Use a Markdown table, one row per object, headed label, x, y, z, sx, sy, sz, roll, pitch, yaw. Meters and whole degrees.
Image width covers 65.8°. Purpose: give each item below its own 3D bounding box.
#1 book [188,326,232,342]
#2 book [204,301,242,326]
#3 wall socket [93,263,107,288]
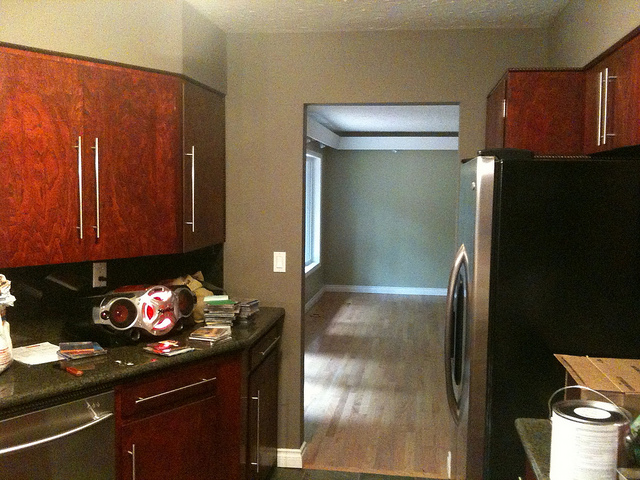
| label | x | y | z | sx | sy | sz | roll | pitch | yaw |
| --- | --- | --- | --- | --- | --- | --- | --- | --- | --- |
| book | -0.550 | 0.470 | 2.531 | 0.181 | 0.039 | 0.225 | 1 | 5 | 18 |
| book | -0.531 | 0.398 | 2.679 | 0.187 | 0.110 | 0.099 | -2 | 5 | -14 |
| wall socket | -1.242 | 0.192 | 2.781 | 0.016 | 0.165 | 0.136 | 1 | 2 | 26 |
